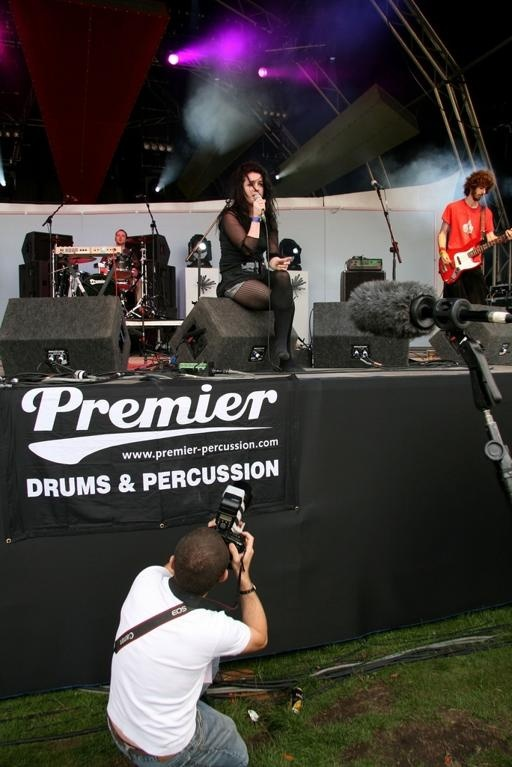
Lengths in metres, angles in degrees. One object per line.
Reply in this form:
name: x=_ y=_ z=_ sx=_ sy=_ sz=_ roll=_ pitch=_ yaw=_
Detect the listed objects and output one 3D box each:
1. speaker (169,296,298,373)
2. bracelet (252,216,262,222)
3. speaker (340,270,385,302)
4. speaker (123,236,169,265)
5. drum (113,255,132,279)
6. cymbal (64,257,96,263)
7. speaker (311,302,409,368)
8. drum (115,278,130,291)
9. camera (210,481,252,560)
speaker: x=-0.171 y=-0.215 z=2.827 sx=0.438 sy=0.280 sz=0.427 roll=-2 pitch=6 yaw=-44
bracelet: x=0.005 y=-0.758 z=2.674 sx=0.038 sy=0.025 sz=0.038 roll=12 pitch=17 yaw=35
speaker: x=1.347 y=-1.228 z=7.279 sx=0.529 sy=0.371 sz=0.513 roll=3 pitch=13 yaw=9
speaker: x=-1.538 y=-1.902 z=8.169 sx=0.485 sy=0.476 sz=0.488 roll=3 pitch=12 yaw=7
drum: x=-1.718 y=-1.480 z=7.404 sx=0.208 sy=0.329 sz=1.021 roll=-2 pitch=13 yaw=-13
cymbal: x=-2.210 y=-1.543 z=7.242 sx=0.301 sy=0.071 sz=0.305 roll=0 pitch=3 yaw=25
speaker: x=0.481 y=-0.192 z=2.764 sx=0.420 sy=0.284 sz=0.337 roll=0 pitch=4 yaw=-4
drum: x=-1.848 y=-1.357 z=7.979 sx=0.144 sy=0.152 sz=0.182 roll=1 pitch=9 yaw=21
camera: x=-0.058 y=0.324 z=1.411 sx=0.097 sy=0.153 sz=0.070 roll=-1 pitch=-18 yaw=-8
